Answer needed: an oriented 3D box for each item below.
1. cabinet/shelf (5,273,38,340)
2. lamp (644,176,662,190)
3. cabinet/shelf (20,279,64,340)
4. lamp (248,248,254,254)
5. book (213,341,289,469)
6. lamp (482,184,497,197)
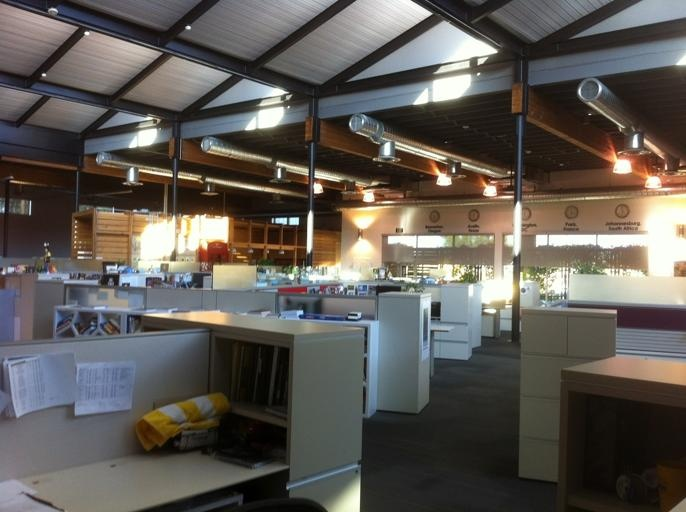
[{"bbox_3d":[-5.099,0.824,8.787,1.059,1.111,0.353,0,0,45],"label":"cabinet/shelf"},{"bbox_3d":[7.730,-1.861,13.828,0.436,0.309,0.447,-3,-1,2],"label":"lamp"},{"bbox_3d":[-4.507,0.837,8.259,0.355,1.042,2.542,0,2,-35],"label":"cabinet/shelf"},{"bbox_3d":[-3.171,-0.199,18.946,0.129,0.234,0.238,-2,-3,25],"label":"lamp"},{"bbox_3d":[-0.570,0.909,3.515,0.656,0.657,0.476,3,-2,15],"label":"book"},{"bbox_3d":[4.274,-1.956,16.145,0.463,0.415,0.460,2,-3,-43],"label":"lamp"}]
